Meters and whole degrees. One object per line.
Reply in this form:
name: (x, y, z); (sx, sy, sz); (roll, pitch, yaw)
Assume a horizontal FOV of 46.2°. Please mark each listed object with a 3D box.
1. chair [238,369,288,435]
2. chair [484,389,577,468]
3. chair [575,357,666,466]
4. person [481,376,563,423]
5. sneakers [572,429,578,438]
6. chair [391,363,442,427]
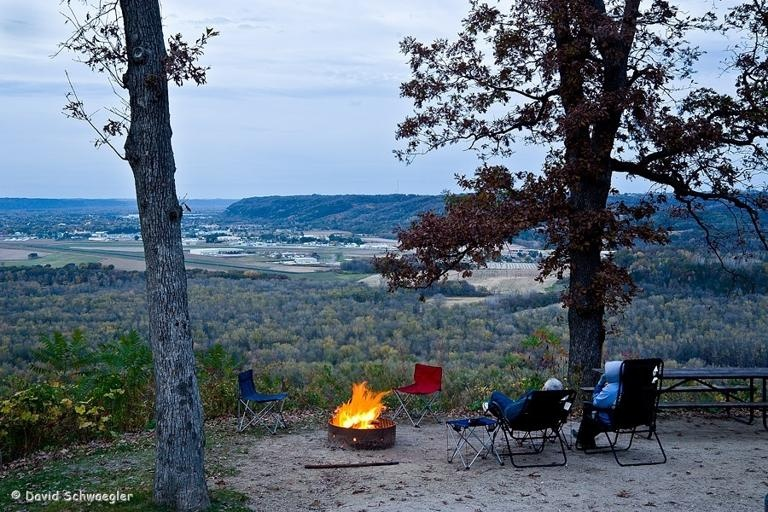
chair: (-2.442, 2.948, 18.188); (1.026, 1.217, 1.096); (2, 3, 29)
chair: (2.697, 3.154, 16.772); (1.194, 1.321, 1.978); (5, -4, -11)
chair: (4.531, 2.781, 16.986); (1.471, 2.595, 1.867); (1, -2, -10)
person: (2.529, 2.545, 16.319); (0.723, 0.747, 1.158); (4, 2, -45)
sneakers: (3.602, 3.314, 16.725); (0.139, 0.120, 0.122); (8, -10, -10)
chair: (0.699, 2.906, 18.734); (0.819, 1.205, 0.821); (0, 3, -41)
